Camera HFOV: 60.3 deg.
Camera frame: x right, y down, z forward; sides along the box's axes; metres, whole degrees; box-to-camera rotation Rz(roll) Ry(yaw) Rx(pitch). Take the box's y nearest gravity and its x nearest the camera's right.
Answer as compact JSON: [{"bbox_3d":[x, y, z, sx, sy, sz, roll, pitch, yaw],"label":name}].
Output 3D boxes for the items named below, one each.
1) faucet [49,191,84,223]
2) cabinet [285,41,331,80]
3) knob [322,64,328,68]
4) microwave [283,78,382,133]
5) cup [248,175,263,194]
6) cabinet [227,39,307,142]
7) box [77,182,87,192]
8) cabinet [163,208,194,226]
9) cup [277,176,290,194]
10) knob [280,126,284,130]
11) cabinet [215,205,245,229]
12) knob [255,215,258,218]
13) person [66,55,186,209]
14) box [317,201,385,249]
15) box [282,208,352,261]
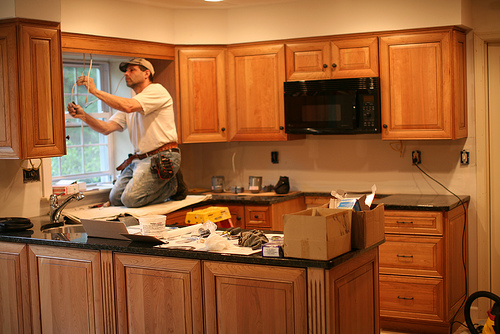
[{"bbox_3d":[-1.654,0.319,3.834,0.259,0.244,0.694,-5,7,-25],"label":"faucet"},{"bbox_3d":[0.714,-1.205,4.825,0.565,0.423,0.306,4,17,31],"label":"cabinet"},{"bbox_3d":[0.806,-1.094,4.654,0.052,0.034,0.061,-1,1,14],"label":"knob"},{"bbox_3d":[0.996,-0.679,4.890,1.138,0.620,0.668,6,15,36],"label":"microwave"},{"bbox_3d":[0.082,0.213,5.183,0.197,0.202,0.188,0,0,0],"label":"cup"},{"bbox_3d":[-0.113,-0.863,5.189,0.895,1.111,0.920,4,9,45],"label":"cabinet"},{"bbox_3d":[-1.695,0.188,4.319,0.072,0.082,0.130,-1,-2,15],"label":"box"},{"bbox_3d":[-0.739,0.512,4.338,0.176,0.191,0.309,-1,0,30],"label":"cabinet"},{"bbox_3d":[0.376,0.202,4.925,0.191,0.234,0.167,1,-9,1],"label":"cup"},{"bbox_3d":[0.354,-0.445,4.856,0.044,0.040,0.022,5,4,10],"label":"knob"},{"bbox_3d":[-0.186,0.541,4.699,0.240,0.288,0.208,-4,-2,31],"label":"cabinet"},{"bbox_3d":[0.065,0.531,4.616,0.034,0.029,0.017,1,3,7],"label":"knob"},{"bbox_3d":[-1.146,-0.351,4.301,1.038,1.482,0.722,-6,7,-35],"label":"person"},{"bbox_3d":[0.681,0.338,2.713,0.310,0.176,0.310,-3,1,36],"label":"box"},{"bbox_3d":[0.404,0.392,2.552,0.292,0.222,0.395,-3,-1,34],"label":"box"}]
